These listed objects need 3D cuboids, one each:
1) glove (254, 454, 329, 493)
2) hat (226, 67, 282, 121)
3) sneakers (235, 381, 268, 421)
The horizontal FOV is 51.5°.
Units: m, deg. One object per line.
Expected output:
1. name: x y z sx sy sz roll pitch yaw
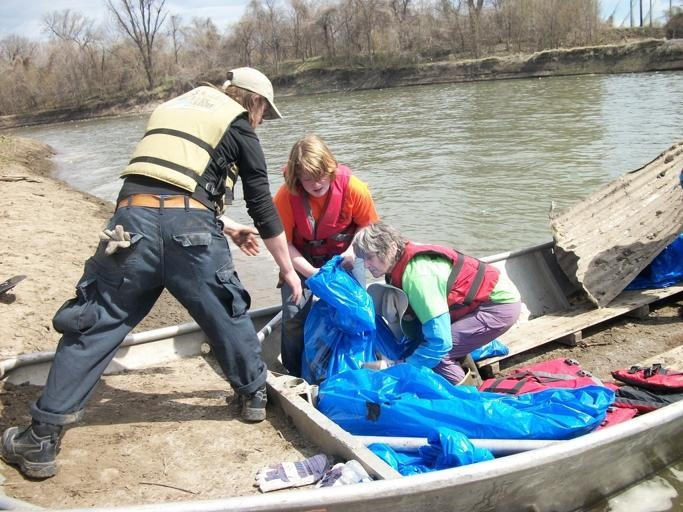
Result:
1. glove: -0.292 1.320 4.316 0.387 0.077 0.171 -7 27 -13
2. hat: -0.627 -1.118 4.875 0.481 0.202 0.302 14 9 -25
3. sneakers: -0.619 0.998 4.857 0.147 0.135 0.335 -2 15 -11
